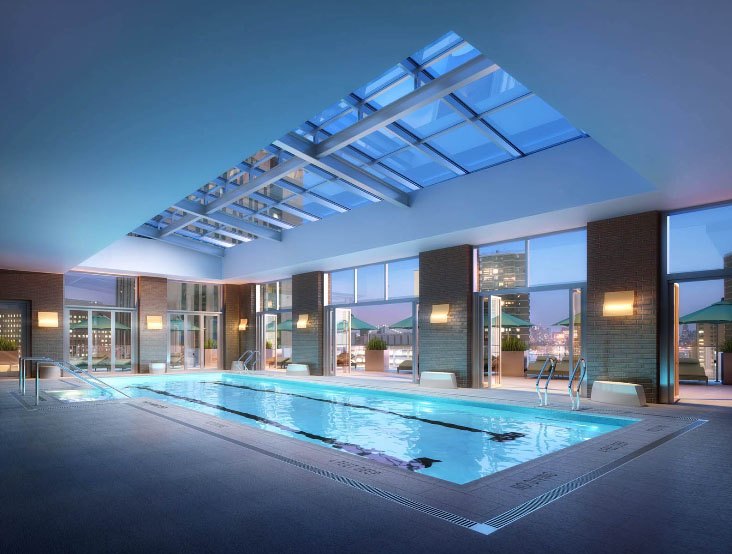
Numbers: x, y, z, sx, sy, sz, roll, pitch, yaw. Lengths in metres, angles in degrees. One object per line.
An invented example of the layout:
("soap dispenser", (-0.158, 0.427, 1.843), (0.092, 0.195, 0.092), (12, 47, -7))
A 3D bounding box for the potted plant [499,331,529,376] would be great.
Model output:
("potted plant", (4.693, 2.735, 15.775), (0.888, 1.159, 0.820), (1, -2, 16))

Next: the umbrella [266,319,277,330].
("umbrella", (-3.709, 2.111, 19.105), (0.465, 0.427, 0.245), (0, 3, 45))

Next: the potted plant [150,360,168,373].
("potted plant", (-7.211, 3.514, 17.066), (0.646, 0.420, 0.343), (7, -14, -43))

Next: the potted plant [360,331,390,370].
("potted plant", (0.349, 3.020, 17.874), (0.778, 1.393, 0.607), (-4, -5, 13))

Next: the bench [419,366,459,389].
("bench", (1.768, 2.732, 11.944), (0.499, 0.386, 1.053), (2, -7, -40))

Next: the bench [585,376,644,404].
("bench", (4.492, 2.313, 8.937), (0.512, 0.384, 0.915), (1, -6, -39))

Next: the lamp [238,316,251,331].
("lamp", (-4.790, 2.120, 19.292), (0.651, 0.609, 0.335), (-8, -13, 40))

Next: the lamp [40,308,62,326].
("lamp", (-9.631, 1.426, 14.925), (0.650, 0.546, 0.213), (3, -8, -44))

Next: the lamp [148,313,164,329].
("lamp", (-7.381, 1.796, 17.163), (0.604, 0.528, 0.300), (4, -11, -39))

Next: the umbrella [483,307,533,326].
("umbrella", (4.375, 1.501, 14.725), (1.163, 0.348, 1.068), (-3, -10, 14))

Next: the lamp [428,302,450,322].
("lamp", (1.836, 1.032, 12.198), (0.218, 0.515, 0.569), (8, -9, -44))

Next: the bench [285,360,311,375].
("bench", (-2.224, 3.302, 15.937), (0.930, 0.380, 0.383), (-6, -6, 35))

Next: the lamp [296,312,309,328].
("lamp", (-2.092, 1.669, 16.314), (0.632, 0.568, 0.241), (-3, -6, 38))
